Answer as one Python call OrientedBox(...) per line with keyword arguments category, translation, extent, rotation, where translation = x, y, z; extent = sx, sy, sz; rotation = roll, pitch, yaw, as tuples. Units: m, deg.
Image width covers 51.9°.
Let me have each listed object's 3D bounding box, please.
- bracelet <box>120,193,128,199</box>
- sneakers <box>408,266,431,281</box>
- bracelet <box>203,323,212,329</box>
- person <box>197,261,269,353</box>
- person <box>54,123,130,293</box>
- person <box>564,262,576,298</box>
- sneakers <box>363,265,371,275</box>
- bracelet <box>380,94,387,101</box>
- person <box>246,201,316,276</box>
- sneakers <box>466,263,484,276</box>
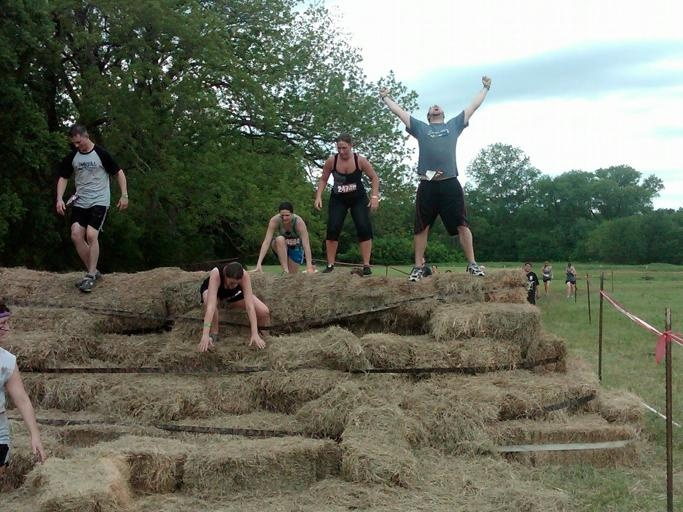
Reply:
OrientedBox(category="bracelet", translation=(-3.493, -0.956, 11.267), extent=(0.131, 0.108, 0.139), rotation=(0, 2, 18))
OrientedBox(category="sneakers", translation=(1.227, 0.289, 11.235), extent=(0.194, 0.288, 0.613), rotation=(-2, -2, 21))
OrientedBox(category="bracelet", translation=(-1.834, 0.956, 9.601), extent=(0.076, 0.061, 0.080), rotation=(16, -51, -45))
OrientedBox(category="person", translation=(-1.603, 0.568, 10.133), extent=(0.891, 0.924, 1.279), rotation=(-5, 29, -20))
OrientedBox(category="person", translation=(-3.996, -0.705, 11.142), extent=(1.095, 2.625, 0.861), rotation=(-1, 2, 28))
OrientedBox(category="person", translation=(7.815, 0.853, 23.864), extent=(0.268, 1.174, 1.919), rotation=(-1, 2, 18))
OrientedBox(category="sneakers", translation=(0.391, 0.233, 11.070), extent=(0.108, 0.127, 0.298), rotation=(-1, -4, 2))
OrientedBox(category="bracelet", translation=(0.661, -2.482, 10.994), extent=(0.101, 0.038, 0.102), rotation=(36, 41, 28))
OrientedBox(category="person", translation=(-0.899, -0.311, 11.932), extent=(0.853, 1.215, 1.259), rotation=(-2, 2, -2))
OrientedBox(category="sneakers", translation=(2.086, 0.221, 11.048), extent=(0.132, 0.175, 0.360), rotation=(-1, 3, -17))
